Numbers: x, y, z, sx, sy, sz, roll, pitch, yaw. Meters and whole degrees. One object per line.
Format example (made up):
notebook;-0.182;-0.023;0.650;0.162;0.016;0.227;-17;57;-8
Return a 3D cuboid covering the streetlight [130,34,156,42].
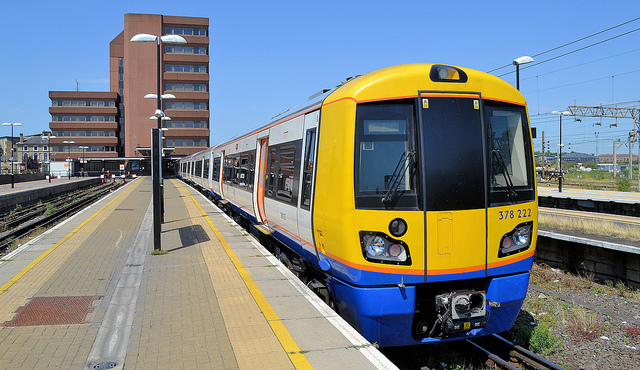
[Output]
streetlight;-6.602;-5.546;14.675;0.779;0.304;0.650;-9;14;-32

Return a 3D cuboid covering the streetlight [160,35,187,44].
streetlight;-5.471;-5.463;14.556;0.607;0.347;1.324;0;12;5
